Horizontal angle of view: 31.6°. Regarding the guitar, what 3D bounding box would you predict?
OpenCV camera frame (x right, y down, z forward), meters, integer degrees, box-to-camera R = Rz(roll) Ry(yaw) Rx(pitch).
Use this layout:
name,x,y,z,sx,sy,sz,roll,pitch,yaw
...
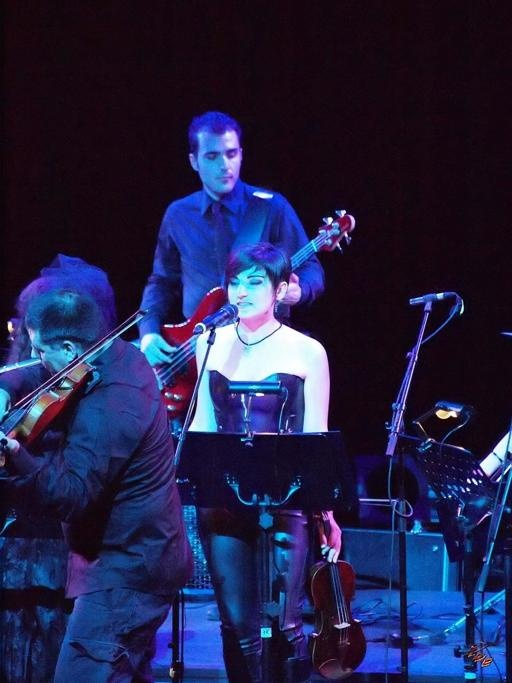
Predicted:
name,x,y,z,sx,sy,sz,roll,pitch,yaw
guitar,-0.051,-0.163,4.082,1.237,0.446,0.176,-42,-8,5

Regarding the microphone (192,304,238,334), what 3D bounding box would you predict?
name,x,y,z,sx,sy,sz,roll,pitch,yaw
microphone,-0.155,-0.058,3.307,0.080,0.080,0.230,-1,18,29

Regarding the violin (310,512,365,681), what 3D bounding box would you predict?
name,x,y,z,sx,sy,sz,roll,pitch,yaw
violin,0.313,0.933,3.375,0.220,0.578,0.240,1,0,8
